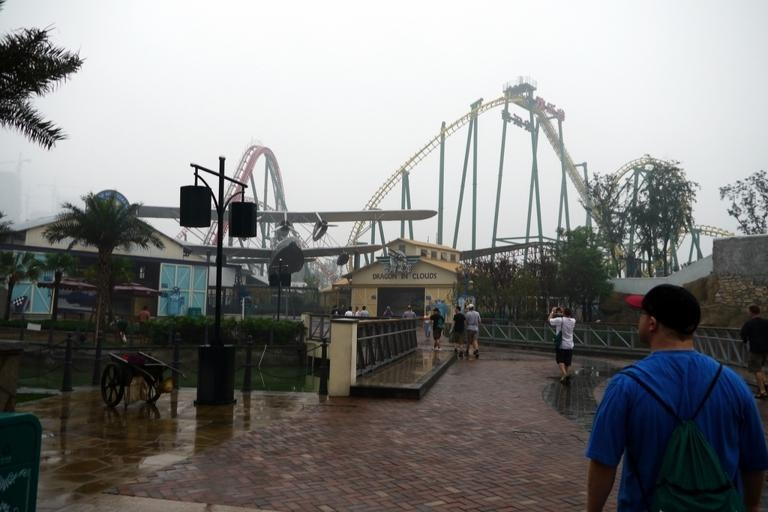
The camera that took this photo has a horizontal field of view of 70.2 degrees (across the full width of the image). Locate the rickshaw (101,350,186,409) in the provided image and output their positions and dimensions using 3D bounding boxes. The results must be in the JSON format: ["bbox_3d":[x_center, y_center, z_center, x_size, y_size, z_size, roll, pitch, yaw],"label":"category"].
[{"bbox_3d":[-4.988,2.457,10.950,1.272,1.068,1.092,1,-7,-10],"label":"rickshaw"}]

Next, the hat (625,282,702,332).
[{"bbox_3d":[1.947,0.335,3.766,0.369,0.288,0.523,12,-7,-11],"label":"hat"}]

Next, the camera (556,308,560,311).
[{"bbox_3d":[4.716,1.437,14.812,0.053,0.098,0.102,-1,-6,32],"label":"camera"}]
